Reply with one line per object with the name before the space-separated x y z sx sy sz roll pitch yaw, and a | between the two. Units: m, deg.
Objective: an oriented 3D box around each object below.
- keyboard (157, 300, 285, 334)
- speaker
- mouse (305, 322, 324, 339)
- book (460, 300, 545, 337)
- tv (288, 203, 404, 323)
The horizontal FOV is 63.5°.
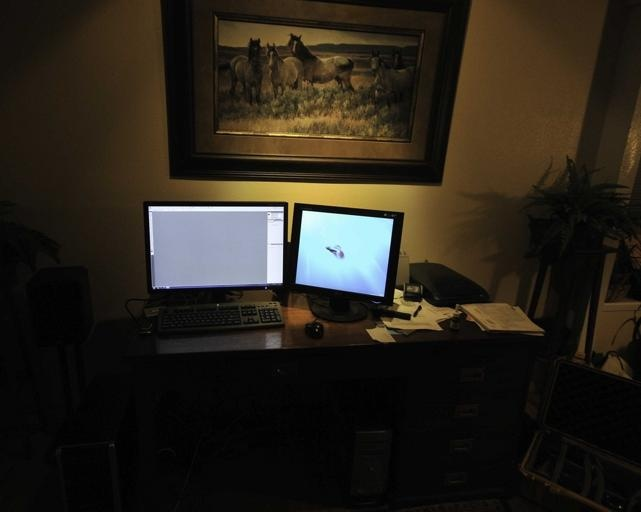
keyboard | -0.488 0.302 2.545 0.601 0.084 0.175 -2 15 -13
speaker | -1.191 0.206 2.360 0.242 0.363 0.112 0 4 -13
mouse | -0.036 0.345 2.473 0.066 0.076 0.075 5 16 5
book | 0.920 0.327 2.655 0.369 0.071 0.241 0 15 -2
tv | 0.121 0.045 2.640 0.478 0.542 0.268 3 7 5
